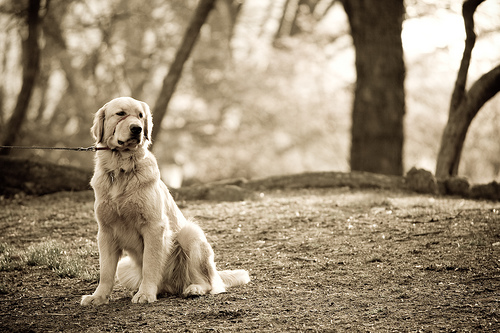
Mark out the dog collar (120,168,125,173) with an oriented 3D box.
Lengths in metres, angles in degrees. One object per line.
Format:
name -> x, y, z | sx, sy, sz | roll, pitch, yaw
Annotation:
dog collar -> -3.613, 0.109, 26.867 | 0.113, 0.101, 0.029 | -2, -12, -8
